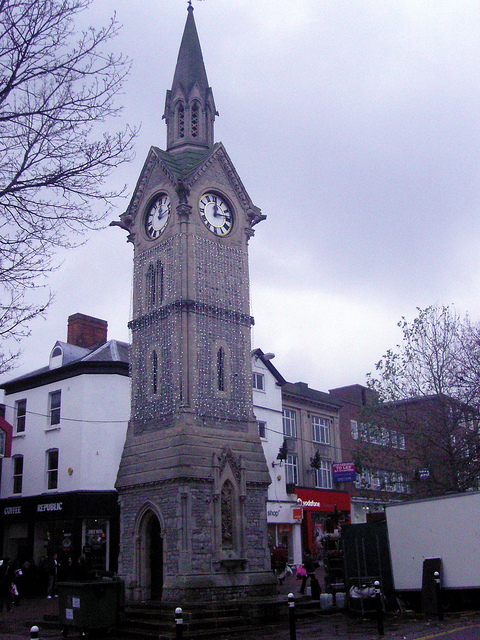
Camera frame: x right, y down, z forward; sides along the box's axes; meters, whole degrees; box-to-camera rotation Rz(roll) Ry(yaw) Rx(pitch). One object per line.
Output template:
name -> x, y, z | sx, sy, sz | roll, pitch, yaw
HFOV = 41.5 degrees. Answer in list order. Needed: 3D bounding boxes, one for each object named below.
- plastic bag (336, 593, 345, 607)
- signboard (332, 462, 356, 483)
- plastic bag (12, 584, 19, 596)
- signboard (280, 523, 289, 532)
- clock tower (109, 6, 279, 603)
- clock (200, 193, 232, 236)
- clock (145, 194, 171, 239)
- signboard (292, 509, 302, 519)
plastic bag -> 2.929, 8.176, 18.434 | 0.254, 0.274, 0.264 | 2, -23, 1
signboard -> 7.402, 10.729, 44.670 | 0.703, 1.370, 1.825 | 13, -24, -41
plastic bag -> -8.064, 9.706, 22.717 | 0.156, 0.346, 1.200 | 3, -19, -18
signboard -> 2.720, 12.702, 38.612 | 0.559, 0.500, 1.260 | -4, -18, 2
clock tower -> -1.639, 0.894, 21.631 | 4.584, 16.209, 3.293 | -2, -17, -3
clock -> -0.914, -3.967, 23.811 | 1.694, 1.718, 0.092 | 11, -24, -40
clock -> -3.018, -3.866, 23.664 | 0.135, 1.972, 1.891 | 19, -8, -29
signboard -> 3.508, 11.968, 38.918 | 0.545, 0.540, 0.058 | 1, -10, 5
